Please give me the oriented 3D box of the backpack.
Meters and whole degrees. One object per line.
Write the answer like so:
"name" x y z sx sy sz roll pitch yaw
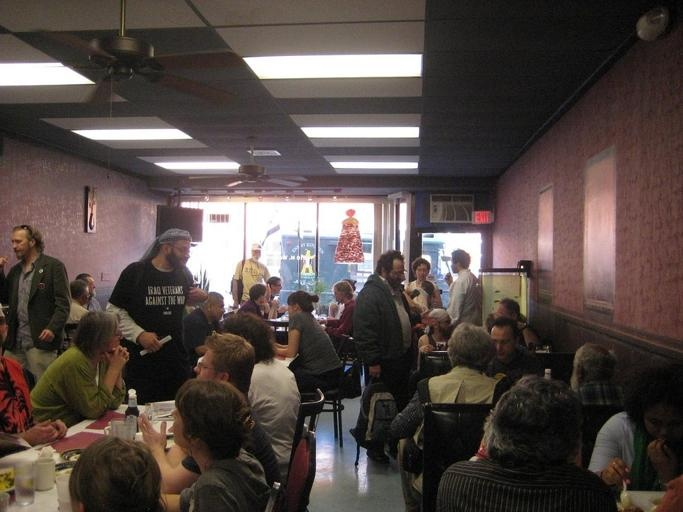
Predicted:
"backpack" 0.286 1.309 4.668 0.357 0.545 0.542 3 -14 -3

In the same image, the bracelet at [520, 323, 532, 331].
"bracelet" 1.907 0.732 5.949 0.050 0.070 0.066 13 -9 -4

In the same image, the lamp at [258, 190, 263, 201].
"lamp" -1.609 -1.195 11.416 0.033 0.131 0.140 21 25 14

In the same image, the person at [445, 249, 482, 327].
"person" 1.581 0.389 7.257 0.414 0.964 0.714 2 -1 13

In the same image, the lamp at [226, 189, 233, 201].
"lamp" -2.292 -1.249 11.829 0.155 0.283 0.162 1 -1 0

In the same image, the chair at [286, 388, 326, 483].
"chair" -0.149 1.066 3.604 0.321 0.483 0.298 4 -4 2

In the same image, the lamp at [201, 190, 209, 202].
"lamp" -2.723 -1.208 11.467 0.055 0.175 0.127 2 10 37

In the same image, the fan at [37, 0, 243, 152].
"fan" -1.346 -1.306 3.979 0.859 0.372 0.851 11 -19 -35

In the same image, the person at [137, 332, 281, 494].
"person" -0.671 0.883 3.045 0.577 0.856 0.440 2 -6 23

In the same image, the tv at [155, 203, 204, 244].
"tv" -2.491 -0.501 8.765 0.886 0.805 0.304 2 -5 -43

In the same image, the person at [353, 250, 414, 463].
"person" 0.428 0.933 5.737 0.535 2.002 0.758 10 14 42

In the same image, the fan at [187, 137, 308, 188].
"fan" -1.298 -1.214 8.552 1.525 0.519 2.926 3 -2 -13
